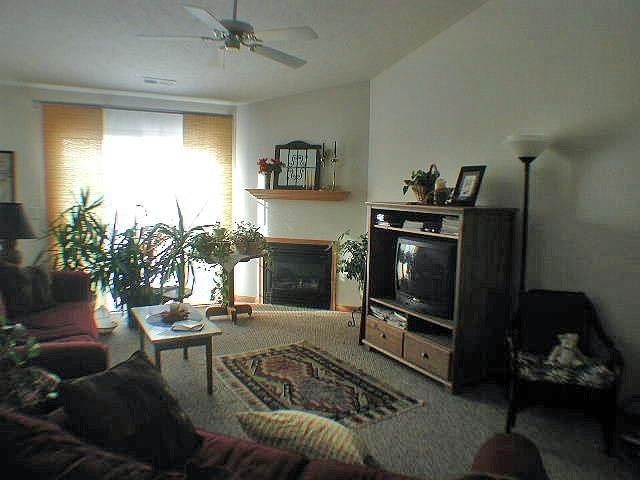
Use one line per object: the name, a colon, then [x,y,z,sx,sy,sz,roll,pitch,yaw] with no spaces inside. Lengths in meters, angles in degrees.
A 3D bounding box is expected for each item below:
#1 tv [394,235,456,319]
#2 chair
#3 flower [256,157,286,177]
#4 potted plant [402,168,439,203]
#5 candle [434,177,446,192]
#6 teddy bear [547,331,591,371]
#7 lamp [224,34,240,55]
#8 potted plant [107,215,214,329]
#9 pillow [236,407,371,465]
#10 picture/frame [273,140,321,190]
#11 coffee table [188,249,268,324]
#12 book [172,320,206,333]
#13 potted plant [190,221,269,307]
tv: [0.869,0.310,3.913,0.394,0.615,0.644,-2,8,-28]
chair: [1.612,0.780,3.229,0.782,1.149,0.873,1,0,28]
flower: [-0.627,-0.968,6.152,0.251,0.149,0.251,-1,4,-23]
potted plant: [0.971,-0.509,4.226,0.356,0.363,0.356,-5,8,-25]
candle: [1.005,-0.471,3.986,0.087,0.092,0.191,2,9,10]
teddy bear: [1.644,0.685,3.088,0.159,0.123,0.116,21,-16,24]
lamp: [-0.624,-1.411,3.365,0.104,0.088,0.128,-1,9,-13]
potted plant: [-1.963,0.307,5.830,1.130,1.258,1.152,-1,6,-29]
pillow: [-0.053,0.794,1.923,0.514,0.182,0.167,14,-11,7]
picture/frame: [-0.272,-0.959,6.096,0.607,0.625,0.051,5,1,19]
coffee table: [-1.123,0.476,5.758,0.768,0.776,0.774,-3,8,-24]
book: [-1.032,0.674,3.722,0.241,0.035,0.195,0,9,-2]
potted plant: [-1.099,0.174,5.843,1.022,1.178,0.910,-2,13,-14]
